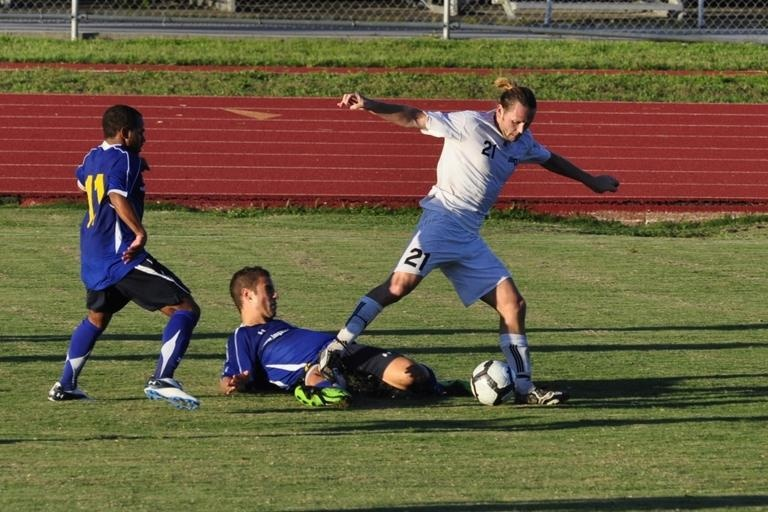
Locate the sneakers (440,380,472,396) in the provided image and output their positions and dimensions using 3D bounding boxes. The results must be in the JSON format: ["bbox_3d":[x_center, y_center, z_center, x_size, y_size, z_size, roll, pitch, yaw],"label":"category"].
[{"bbox_3d":[1.129,2.015,27.890,0.403,0.126,0.290,-1,-4,26],"label":"sneakers"}]

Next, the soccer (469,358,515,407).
[{"bbox_3d":[1.691,1.900,27.665,0.819,0.683,0.689,13,-6,-11],"label":"soccer"}]
